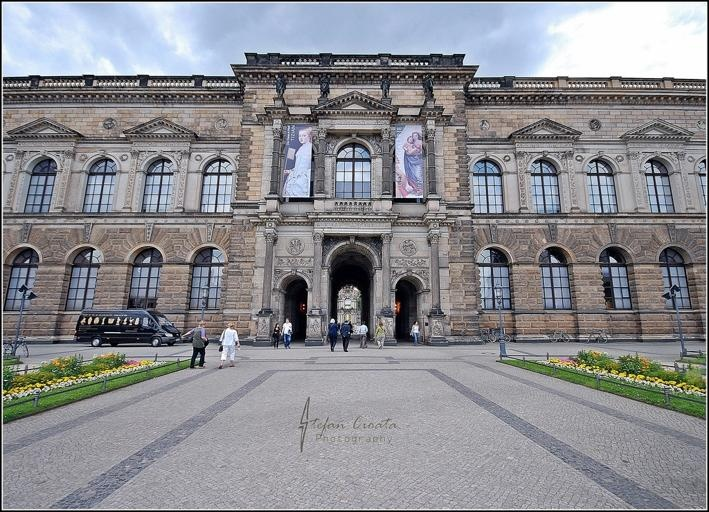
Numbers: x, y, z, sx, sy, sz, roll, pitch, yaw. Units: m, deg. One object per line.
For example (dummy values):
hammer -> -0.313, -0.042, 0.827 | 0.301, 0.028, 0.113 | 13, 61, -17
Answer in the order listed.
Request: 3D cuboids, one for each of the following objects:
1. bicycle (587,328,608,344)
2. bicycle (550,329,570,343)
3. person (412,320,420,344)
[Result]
bicycle -> 18.026, 5.789, 32.042 | 1.898, 1.250, 0.784 | -4, -13, 13
bicycle -> 15.265, 5.807, 32.198 | 1.419, 0.895, 0.730 | -3, -33, 6
person -> 4.433, 5.427, 30.983 | 0.481, 1.396, 1.765 | 1, 4, 12
